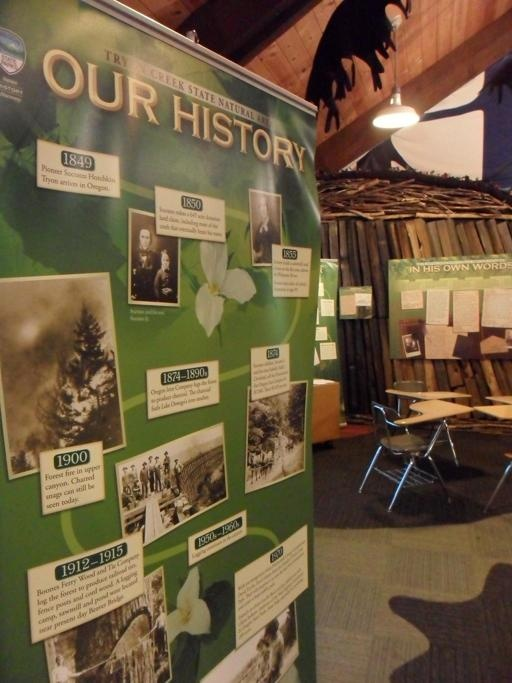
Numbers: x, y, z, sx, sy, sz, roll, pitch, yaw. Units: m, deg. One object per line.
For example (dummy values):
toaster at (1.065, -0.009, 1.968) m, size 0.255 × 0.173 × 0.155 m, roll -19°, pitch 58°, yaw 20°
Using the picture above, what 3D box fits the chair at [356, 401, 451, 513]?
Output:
chair at (1.264, 0.896, 4.055) m, size 0.528 × 0.862 × 0.537 m, roll -5°, pitch 6°, yaw -13°
